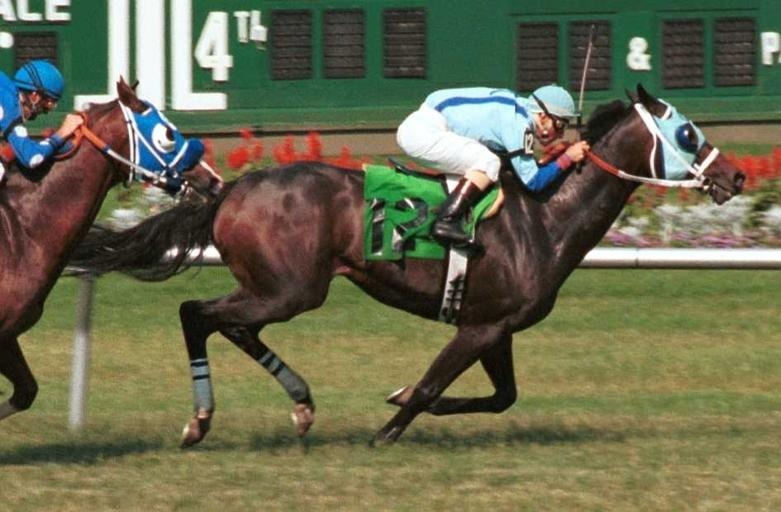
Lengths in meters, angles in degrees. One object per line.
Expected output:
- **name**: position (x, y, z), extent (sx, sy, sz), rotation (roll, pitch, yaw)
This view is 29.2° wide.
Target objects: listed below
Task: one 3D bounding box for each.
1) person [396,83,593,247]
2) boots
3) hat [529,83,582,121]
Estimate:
- **person**: position (0.507, -0.689, 9.723), extent (1.441, 0.926, 0.956), rotation (5, 17, -22)
- **boots**: position (0.417, -0.269, 9.282), extent (0.347, 0.424, 0.180), rotation (1, 10, -12)
- **hat**: position (1.017, -0.977, 9.531), extent (0.368, 0.191, 0.271), rotation (18, 7, 31)
